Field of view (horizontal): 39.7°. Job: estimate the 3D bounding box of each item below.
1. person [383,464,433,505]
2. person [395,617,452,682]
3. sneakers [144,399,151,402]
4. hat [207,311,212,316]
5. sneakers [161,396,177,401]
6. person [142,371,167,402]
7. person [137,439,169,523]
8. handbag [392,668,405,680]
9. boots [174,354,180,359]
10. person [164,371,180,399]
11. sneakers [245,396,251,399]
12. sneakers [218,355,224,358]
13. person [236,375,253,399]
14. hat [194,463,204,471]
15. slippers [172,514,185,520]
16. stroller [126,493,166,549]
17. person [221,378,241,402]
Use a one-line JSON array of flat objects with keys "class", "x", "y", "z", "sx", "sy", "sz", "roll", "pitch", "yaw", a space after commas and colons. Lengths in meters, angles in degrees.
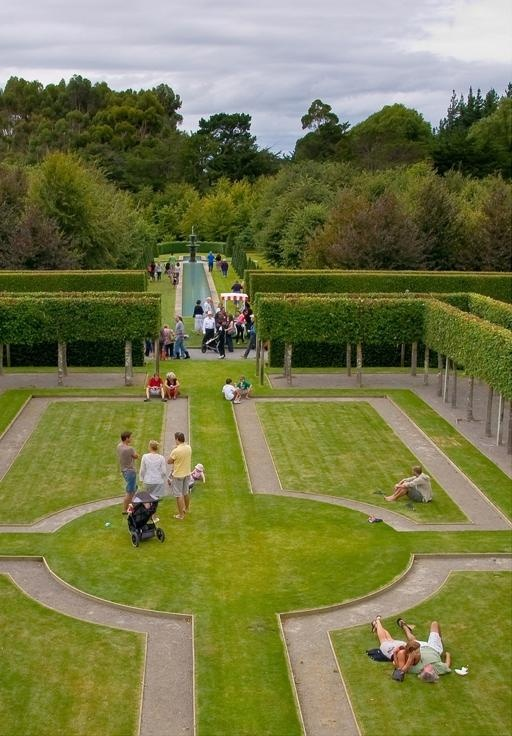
[{"class": "person", "x": 4.013, "y": 3.031, "z": 18.390, "sx": 1.116, "sy": 0.806, "sz": 0.597, "roll": 3, "pitch": 8, "yaw": 15}, {"class": "person", "x": 2.566, "y": 4.218, "z": 10.753, "sx": 0.746, "sy": 0.434, "sz": 1.489, "roll": 0, "pitch": 10, "yaw": 0}, {"class": "sneakers", "x": -4.243, "y": 1.214, "z": 27.866, "sx": 0.196, "sy": 0.129, "sz": 0.226, "roll": 0, "pitch": 7, "yaw": -8}, {"class": "hat", "x": -2.358, "y": -2.839, "z": 36.419, "sx": 0.221, "sy": 0.217, "sz": 0.301, "roll": 0, "pitch": 1, "yaw": -5}, {"class": "sneakers", "x": -3.405, "y": 1.178, "z": 28.096, "sx": 0.551, "sy": 0.209, "sz": 0.160, "roll": -5, "pitch": -36, "yaw": 8}, {"class": "person", "x": -4.002, "y": 0.781, "z": 28.372, "sx": 0.730, "sy": 0.805, "sz": 1.089, "roll": 1, "pitch": 7, "yaw": -8}, {"class": "person", "x": -2.307, "y": 2.460, "z": 15.989, "sx": 0.611, "sy": 1.643, "sz": 0.538, "roll": 2, "pitch": 9, "yaw": -1}, {"class": "handbag", "x": 2.029, "y": 4.361, "z": 10.129, "sx": 0.155, "sy": 0.116, "sz": 0.166, "roll": 3, "pitch": 8, "yaw": 18}, {"class": "boots", "x": -3.926, "y": -0.639, "z": 35.758, "sx": 0.347, "sy": 0.243, "sz": 0.239, "roll": 4, "pitch": 8, "yaw": 20}, {"class": "person", "x": -3.298, "y": 0.671, "z": 28.031, "sx": 0.547, "sy": 1.087, "sz": 1.151, "roll": 0, "pitch": 7, "yaw": -7}, {"class": "sneakers", "x": -0.313, "y": 1.142, "z": 28.432, "sx": 0.120, "sy": 0.139, "sz": 0.341, "roll": 0, "pitch": -5, "yaw": -2}, {"class": "sneakers", "x": -1.761, "y": -0.597, "z": 35.858, "sx": 0.328, "sy": 0.102, "sz": 0.125, "roll": 5, "pitch": -10, "yaw": -8}, {"class": "person", "x": -0.447, "y": 0.731, "z": 28.517, "sx": 0.828, "sy": 0.951, "sz": 0.798, "roll": -5, "pitch": 8, "yaw": -4}, {"class": "hat", "x": -1.522, "y": 2.684, "z": 19.167, "sx": 0.288, "sy": 0.154, "sz": 0.291, "roll": 6, "pitch": 9, "yaw": 5}, {"class": "slippers", "x": -1.818, "y": 3.496, "z": 16.816, "sx": 0.251, "sy": 0.159, "sz": 0.096, "roll": 5, "pitch": 4, "yaw": 14}, {"class": "stroller", "x": -2.360, "y": 3.131, "z": 15.106, "sx": 0.709, "sy": 0.952, "sz": 0.964, "roll": 1, "pitch": 2, "yaw": -24}, {"class": "person", "x": -0.914, "y": 0.844, "z": 27.921, "sx": 0.658, "sy": 0.988, "sz": 1.066, "roll": 0, "pitch": 7, "yaw": -4}]
